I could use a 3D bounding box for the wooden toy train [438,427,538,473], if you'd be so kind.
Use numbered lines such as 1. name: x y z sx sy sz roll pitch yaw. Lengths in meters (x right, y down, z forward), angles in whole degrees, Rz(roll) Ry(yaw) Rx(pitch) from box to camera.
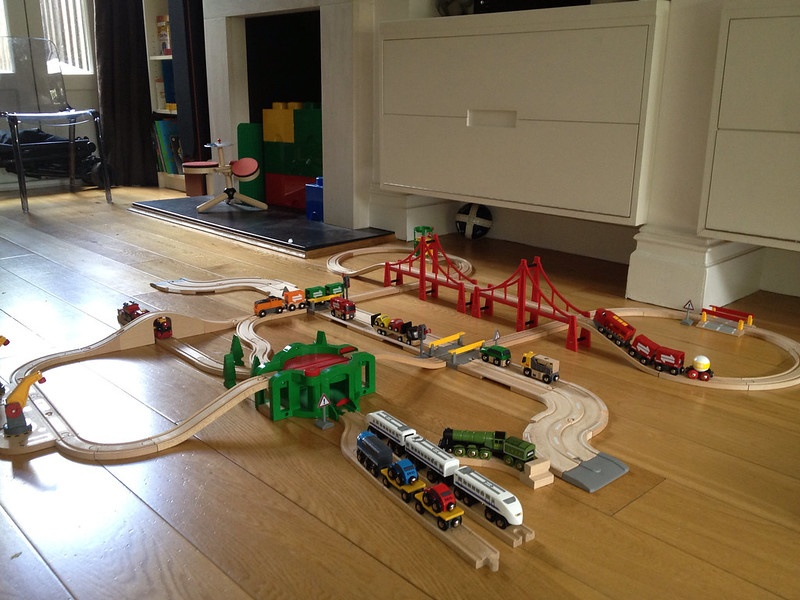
1. wooden toy train: 0.230 0.377 1.489 0.276 0.084 0.100 9 20 18

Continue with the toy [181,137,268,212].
1. toy: -1.361 -1.022 4.369 0.654 0.493 0.380 0 23 8

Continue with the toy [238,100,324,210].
1. toy: -0.966 -1.208 4.406 0.813 0.841 0.392 15 25 36

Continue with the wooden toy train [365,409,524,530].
1. wooden toy train: 0.108 0.431 1.354 0.053 0.071 0.397 -19 33 -33

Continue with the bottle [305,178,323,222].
1. bottle: -0.638 -0.750 4.040 0.128 0.303 0.193 -5 19 -12

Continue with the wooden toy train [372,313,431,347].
1. wooden toy train: 0.006 0.105 2.188 0.092 0.094 0.291 -13 23 -35

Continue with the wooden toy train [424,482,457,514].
1. wooden toy train: 0.090 0.442 1.208 0.046 0.038 0.071 -7 15 -31

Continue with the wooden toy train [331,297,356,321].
1. wooden toy train: -0.248 0.034 2.454 0.072 0.078 0.125 -12 21 -36

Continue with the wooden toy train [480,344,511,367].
1. wooden toy train: 0.352 0.203 1.985 0.061 0.054 0.103 -12 24 -39

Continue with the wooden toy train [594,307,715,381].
1. wooden toy train: 1.013 0.182 2.144 0.083 0.107 0.483 -10 26 -30

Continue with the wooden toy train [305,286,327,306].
1. wooden toy train: -0.392 -0.019 2.501 0.106 0.098 0.062 -5 12 -34

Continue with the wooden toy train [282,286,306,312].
1. wooden toy train: -0.485 -0.009 2.504 0.095 0.090 0.092 -8 16 -24

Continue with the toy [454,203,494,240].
1. toy: 0.495 -0.533 3.715 0.243 0.245 0.137 3 7 25

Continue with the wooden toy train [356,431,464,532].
1. wooden toy train: -0.010 0.406 1.420 0.091 0.118 0.506 -13 26 -30

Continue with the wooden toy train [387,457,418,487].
1. wooden toy train: 0.010 0.414 1.301 0.046 0.039 0.073 -8 16 -27
